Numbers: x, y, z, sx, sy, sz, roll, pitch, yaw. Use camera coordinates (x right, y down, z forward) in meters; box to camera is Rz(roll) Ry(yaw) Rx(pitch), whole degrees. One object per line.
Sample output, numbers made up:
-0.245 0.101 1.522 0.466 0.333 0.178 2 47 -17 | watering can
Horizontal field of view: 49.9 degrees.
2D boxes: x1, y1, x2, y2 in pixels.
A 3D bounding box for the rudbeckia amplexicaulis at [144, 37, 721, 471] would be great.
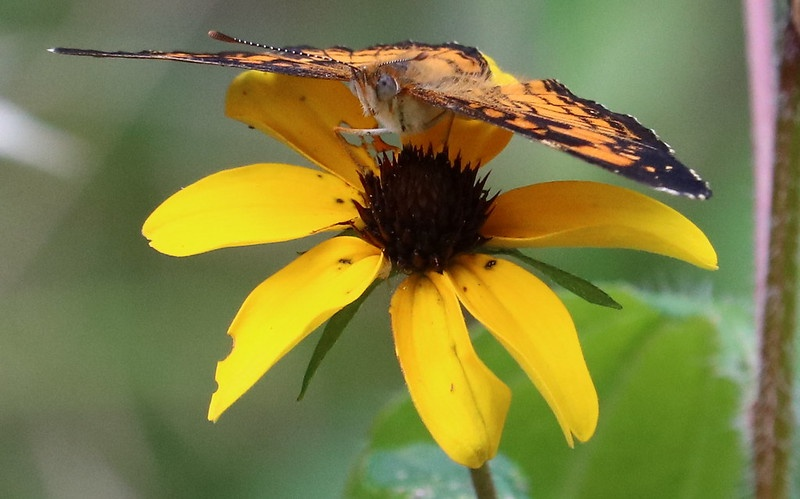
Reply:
0.024 0.010 1.153 0.637 0.192 0.627 0 34 -7 | rudbeckia amplexicaulis
